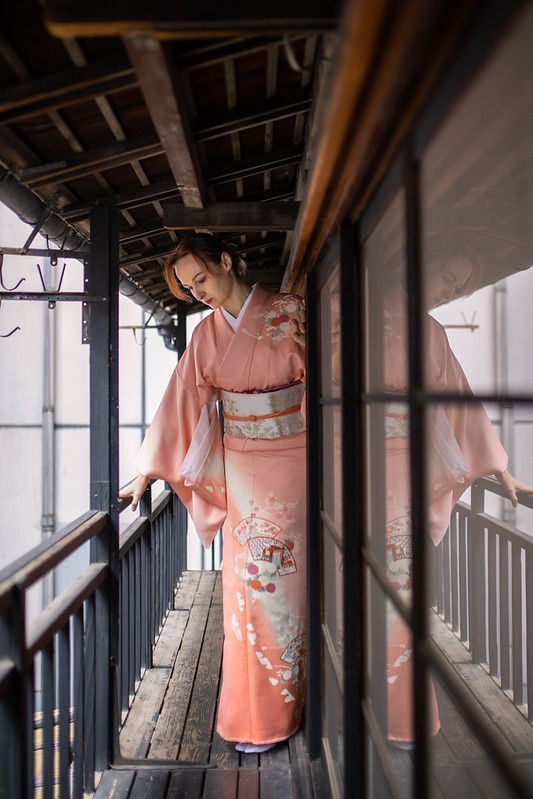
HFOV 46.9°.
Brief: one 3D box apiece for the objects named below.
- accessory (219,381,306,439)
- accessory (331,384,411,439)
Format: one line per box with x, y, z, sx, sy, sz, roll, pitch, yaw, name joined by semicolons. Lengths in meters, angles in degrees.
-0.009;0.033;2.235;0.288;0.189;0.272;-12;13;-38;accessory
0.227;0.031;1.327;0.115;0.127;0.125;-1;-2;18;accessory
